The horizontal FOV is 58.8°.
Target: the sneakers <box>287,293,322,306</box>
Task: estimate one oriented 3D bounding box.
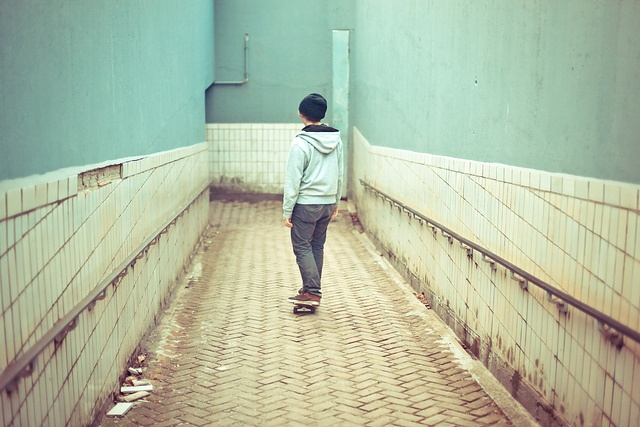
[{"bbox_3d":[-0.189,1.005,6.716,0.365,0.167,0.149,2,-6,4],"label":"sneakers"}]

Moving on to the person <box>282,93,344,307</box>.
[{"bbox_3d":[-0.095,-0.012,6.814,0.457,2.100,0.746,5,11,26],"label":"person"}]

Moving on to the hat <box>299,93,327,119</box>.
[{"bbox_3d":[-0.120,-1.286,6.877,0.246,0.286,0.334,-7,13,-25],"label":"hat"}]
